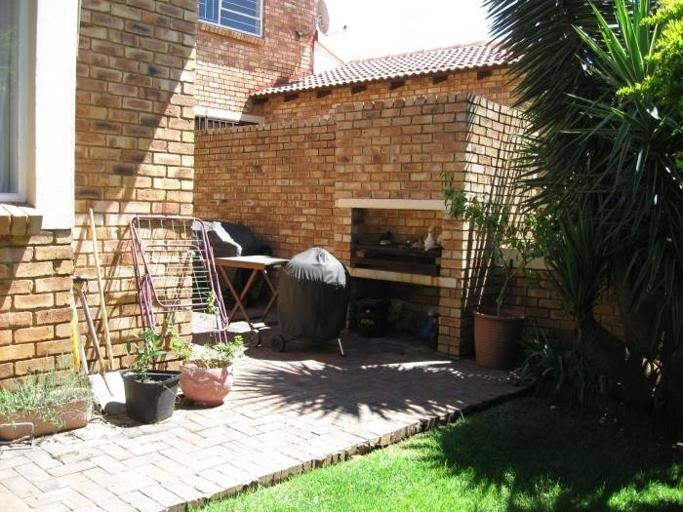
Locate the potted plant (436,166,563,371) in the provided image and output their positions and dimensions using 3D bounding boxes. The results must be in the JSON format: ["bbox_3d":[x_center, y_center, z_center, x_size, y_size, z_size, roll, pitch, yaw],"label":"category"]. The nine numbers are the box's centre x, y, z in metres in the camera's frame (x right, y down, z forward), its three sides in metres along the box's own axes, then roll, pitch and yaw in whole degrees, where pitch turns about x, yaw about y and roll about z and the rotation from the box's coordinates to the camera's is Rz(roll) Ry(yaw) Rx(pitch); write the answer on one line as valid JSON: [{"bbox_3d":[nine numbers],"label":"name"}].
[{"bbox_3d":[2.119,0.075,6.882,1.052,2.818,1.626,4,3,23],"label":"potted plant"}]

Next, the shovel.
[{"bbox_3d":[-2.203,0.818,4.954,0.501,1.306,0.446,-2,7,-38],"label":"shovel"}]

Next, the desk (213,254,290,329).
[{"bbox_3d":[-1.377,0.676,8.336,1.064,1.345,0.973,9,7,37],"label":"desk"}]
